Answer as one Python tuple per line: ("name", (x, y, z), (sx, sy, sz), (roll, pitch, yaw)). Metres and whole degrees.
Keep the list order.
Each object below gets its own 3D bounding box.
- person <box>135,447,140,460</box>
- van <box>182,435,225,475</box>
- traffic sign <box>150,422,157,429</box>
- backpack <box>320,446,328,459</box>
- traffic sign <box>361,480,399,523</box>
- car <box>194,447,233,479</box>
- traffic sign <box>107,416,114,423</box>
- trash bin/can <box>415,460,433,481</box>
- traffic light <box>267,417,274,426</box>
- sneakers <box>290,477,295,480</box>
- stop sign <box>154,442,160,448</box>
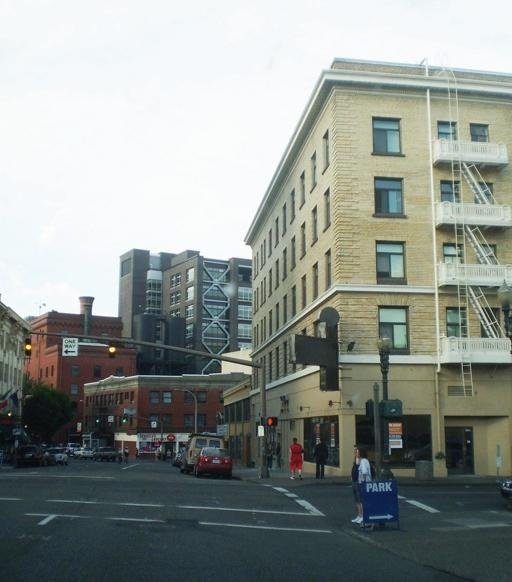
("person", (-15.801, 21.630, 93.172), (0.360, 1.404, 0.861), (14, -19, -39))
("van", (-2.932, 9.583, 40.735), (2.106, 1.826, 3.391), (4, -8, -11))
("traffic sign", (-13.845, 18.119, 94.242), (0.875, 1.021, 0.518), (3, -15, -7))
("backpack", (2.891, 6.877, 29.688), (0.208, 0.620, 0.407), (-7, -17, 29))
("traffic sign", (2.571, 4.366, 14.428), (0.834, 0.879, 0.040), (-13, -28, 29))
("car", (-2.106, 8.556, 34.750), (1.782, 1.407, 1.114), (-2, -15, 13))
("traffic sign", (-21.089, 18.667, 101.451), (1.057, 1.006, 0.553), (-1, -11, 6))
("trash bin/can", (6.915, 7.349, 28.594), (0.681, 0.630, 0.653), (0, -4, 2))
("traffic light", (0.664, 6.000, 31.909), (0.234, 0.431, 0.324), (-5, -22, -20))
("sneakers", (1.634, 8.349, 31.095), (0.128, 0.162, 0.413), (1, -17, -2))
("stop sign", (-13.107, 20.488, 92.625), (0.243, 0.745, 1.027), (15, -20, -42))
